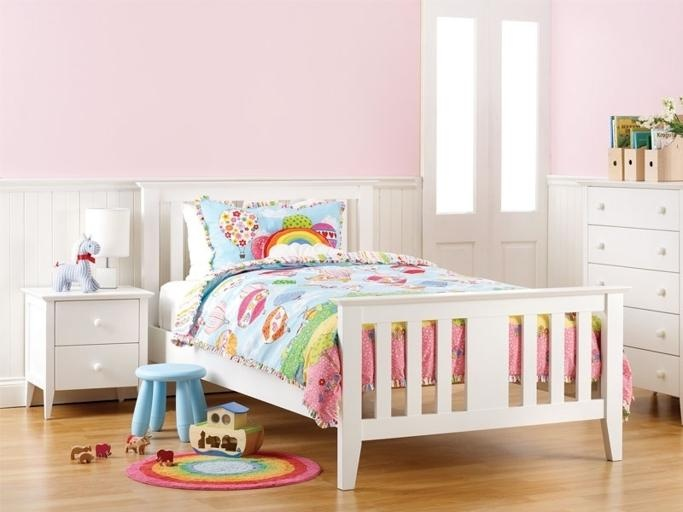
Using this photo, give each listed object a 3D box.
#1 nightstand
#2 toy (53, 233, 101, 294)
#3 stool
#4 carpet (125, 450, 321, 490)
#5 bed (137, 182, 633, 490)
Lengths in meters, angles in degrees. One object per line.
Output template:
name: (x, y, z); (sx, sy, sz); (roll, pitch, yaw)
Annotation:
nightstand: (-1.396, 0.455, 3.600); (0.858, 0.865, 0.636); (0, -1, -33)
toy: (-1.470, 0.042, 3.371); (0.243, 0.319, 0.132); (1, -2, -25)
stool: (-0.789, 0.638, 2.877); (0.356, 0.362, 0.357); (-1, 4, -10)
carpet: (-0.453, 0.824, 2.329); (0.753, 0.017, 0.462); (0, -2, 0)
bed: (0.096, 0.221, 3.180); (1.383, 1.153, 2.200); (-1, 2, -25)
